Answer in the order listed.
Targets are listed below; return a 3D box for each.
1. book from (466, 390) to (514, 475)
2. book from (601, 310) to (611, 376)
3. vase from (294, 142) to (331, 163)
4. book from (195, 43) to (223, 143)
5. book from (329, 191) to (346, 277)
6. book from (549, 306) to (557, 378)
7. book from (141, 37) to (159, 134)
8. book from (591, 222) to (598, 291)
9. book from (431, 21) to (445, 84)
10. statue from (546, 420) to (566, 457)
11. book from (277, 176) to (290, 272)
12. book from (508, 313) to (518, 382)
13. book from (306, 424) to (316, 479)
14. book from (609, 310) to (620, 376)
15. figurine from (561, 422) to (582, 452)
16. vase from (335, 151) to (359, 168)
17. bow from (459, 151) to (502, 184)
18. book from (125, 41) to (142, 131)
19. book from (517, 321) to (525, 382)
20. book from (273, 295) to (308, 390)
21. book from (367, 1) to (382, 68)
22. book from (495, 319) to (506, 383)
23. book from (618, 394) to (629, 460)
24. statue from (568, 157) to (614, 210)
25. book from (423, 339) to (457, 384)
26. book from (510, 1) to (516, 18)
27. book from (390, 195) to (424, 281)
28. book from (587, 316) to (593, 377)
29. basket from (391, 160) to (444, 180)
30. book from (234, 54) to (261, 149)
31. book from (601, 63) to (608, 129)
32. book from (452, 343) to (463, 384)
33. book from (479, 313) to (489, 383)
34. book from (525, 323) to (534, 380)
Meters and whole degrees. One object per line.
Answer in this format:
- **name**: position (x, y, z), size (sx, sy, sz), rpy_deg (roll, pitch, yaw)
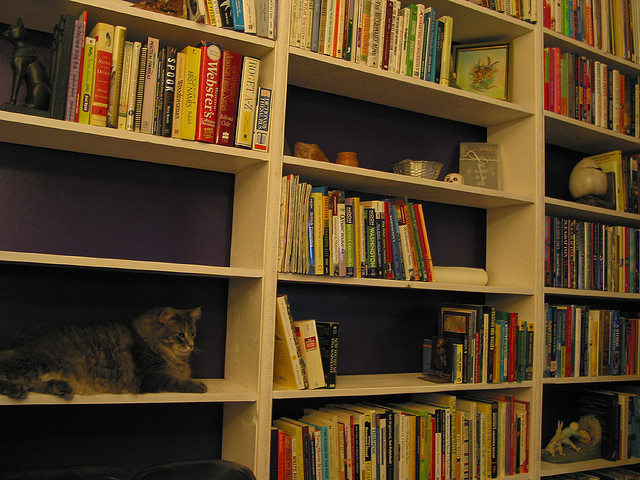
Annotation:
- **book**: position (0.745, 0.823, 2.513), size (0.270, 0.274, 0.065), rpy_deg (-4, -1, -22)
- **book**: position (1.313, 0.471, 2.631), size (0.059, 0.290, 0.028), rpy_deg (7, -4, -24)
- **vase**: position (-0.041, -0.344, 2.248), size (0.113, 0.083, 0.087), rpy_deg (8, -5, -41)
- **book**: position (-0.389, -0.506, 1.990), size (0.084, 0.238, 0.030), rpy_deg (6, -4, -15)
- **book**: position (0.082, 0.002, 2.146), size (0.048, 0.267, 0.021), rpy_deg (6, -4, 0)
- **book**: position (1.027, 0.446, 2.522), size (0.032, 0.299, 0.023), rpy_deg (7, -4, -24)
- **book**: position (-0.587, -0.516, 1.934), size (0.058, 0.249, 0.022), rpy_deg (7, -4, -16)
- **book**: position (1.270, 0.079, 2.653), size (0.043, 0.298, 0.013), rpy_deg (7, -4, -19)
- **book**: position (0.481, -0.777, 2.351), size (0.045, 0.195, 0.190), rpy_deg (5, 4, 4)
- **statue**: position (1.055, 0.883, 2.564), size (0.082, 0.138, 0.091), rpy_deg (5, -4, 0)
- **book**: position (-0.135, -0.058, 2.064), size (0.038, 0.338, 0.009), rpy_deg (6, -4, -2)
- **book**: position (0.810, 0.452, 2.420), size (0.054, 0.282, 0.027), rpy_deg (8, -4, -31)
- **book**: position (-0.030, 0.761, 2.055), size (0.031, 0.133, 0.133), rpy_deg (3, 3, -4)
- **book**: position (1.363, 0.475, 2.651), size (0.060, 0.292, 0.028), rpy_deg (7, -4, -22)
- **figurine**: position (1.121, 0.866, 2.566), size (0.106, 0.109, 0.082), rpy_deg (2, -7, -13)
- **vase**: position (0.116, -0.311, 2.319), size (0.072, 0.052, 0.071), rpy_deg (1, -7, -5)
- **bow**: position (0.722, -0.323, 2.587), size (0.153, 0.130, 0.023), rpy_deg (2, -13, -4)
- **book**: position (-0.631, -0.505, 1.922), size (0.039, 0.345, 0.290), rpy_deg (5, 1, -18)
- **book**: position (0.850, 0.473, 2.436), size (0.033, 0.246, 0.029), rpy_deg (6, -4, -6)
- **book**: position (-0.132, 0.368, 2.082), size (0.163, 0.329, 0.115), rpy_deg (3, -5, 37)
- **book**: position (0.212, -0.802, 2.249), size (0.059, 0.255, 0.022), rpy_deg (8, -4, -35)
- **book**: position (0.752, 0.462, 2.401), size (0.048, 0.257, 0.026), rpy_deg (4, -4, 17)
- **book**: position (1.377, 0.845, 2.606), size (0.041, 0.279, 0.081), rpy_deg (2, -5, 43)
- **statue**: position (1.316, -0.278, 2.785), size (0.155, 0.258, 0.153), rpy_deg (7, -4, -17)
- **book**: position (0.484, 0.476, 2.347), size (0.017, 0.128, 0.155), rpy_deg (-4, 0, -35)
- **book**: position (0.858, -1.016, 2.548), size (0.015, 0.064, 0.049), rpy_deg (6, 9, 43)
- **book**: position (0.340, 0.008, 2.278), size (0.041, 0.366, 0.316), rpy_deg (-12, 0, -13)
- **book**: position (1.222, 0.483, 2.597), size (0.024, 0.258, 0.050), rpy_deg (4, -4, 28)
- **basket**: position (0.397, -0.293, 2.421), size (0.118, 0.038, 0.116), rpy_deg (3, -6, -7)
- **book**: position (-0.261, -0.488, 2.036), size (0.060, 0.256, 0.249), rpy_deg (9, -13, -6)
- **book**: position (1.347, -0.674, 2.717), size (0.062, 0.299, 0.017), rpy_deg (8, -5, -37)
- **book**: position (0.562, 0.496, 2.314), size (0.036, 0.152, 0.015), rpy_deg (8, -4, -31)
- **book**: position (0.677, 0.444, 2.362), size (0.037, 0.275, 0.017), rpy_deg (7, -4, -24)
- **book**: position (0.894, 0.473, 2.454), size (0.040, 0.237, 0.016), rpy_deg (7, -4, -25)
